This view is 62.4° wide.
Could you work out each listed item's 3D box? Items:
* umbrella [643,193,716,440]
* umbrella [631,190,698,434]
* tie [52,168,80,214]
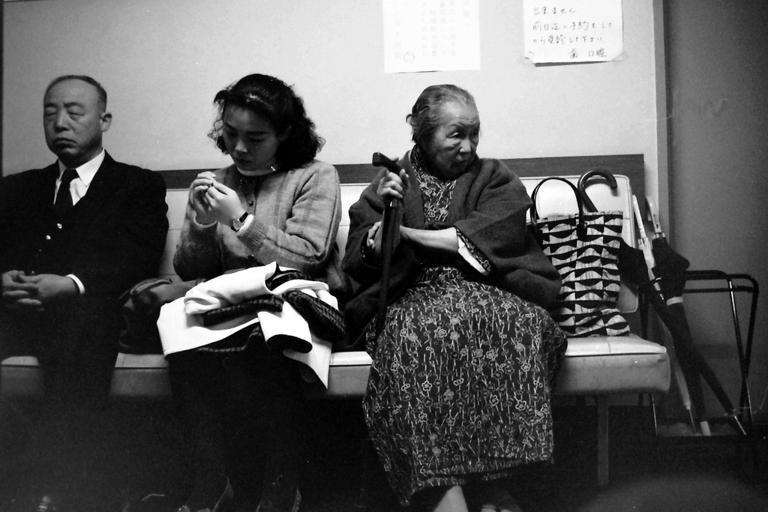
[{"bbox_3d":[0.966,0.211,2.157,0.153,0.776,0.112,-12,-2,14],"label":"umbrella"},{"bbox_3d":[0.956,0.181,2.167,0.178,0.760,0.129,-10,-2,20],"label":"umbrella"},{"bbox_3d":[-1.056,-0.212,2.092,0.045,0.176,0.050,8,-10,1],"label":"tie"}]
